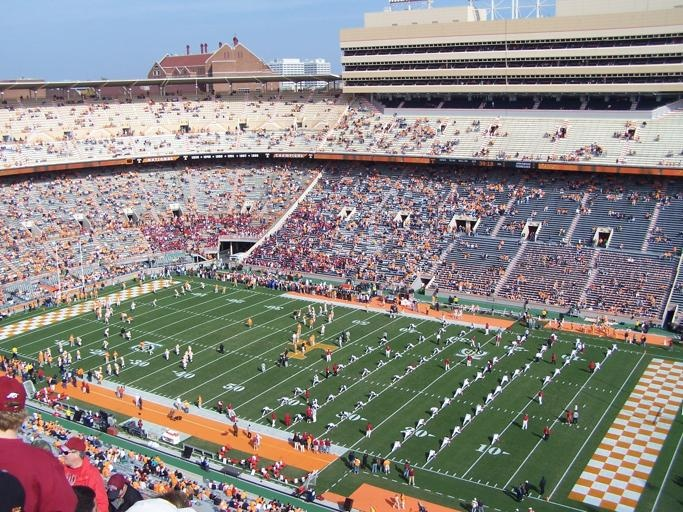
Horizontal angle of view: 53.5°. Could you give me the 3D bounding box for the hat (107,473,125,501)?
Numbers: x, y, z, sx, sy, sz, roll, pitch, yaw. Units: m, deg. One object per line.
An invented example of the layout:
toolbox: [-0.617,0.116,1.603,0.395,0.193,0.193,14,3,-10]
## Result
hat: [-3.420,3.438,10.196,0.286,0.206,0.380,0,40,-2]
